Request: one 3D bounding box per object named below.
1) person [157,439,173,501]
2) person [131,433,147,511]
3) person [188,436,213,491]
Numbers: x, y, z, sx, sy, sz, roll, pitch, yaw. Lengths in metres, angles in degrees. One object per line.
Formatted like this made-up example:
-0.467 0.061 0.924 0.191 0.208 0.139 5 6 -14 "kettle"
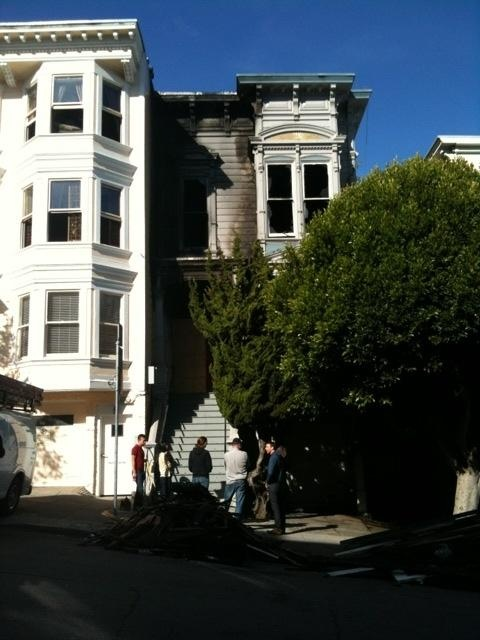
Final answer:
-1.532 3.063 15.113 0.299 1.042 1.177 3 -9 -5 "person"
-1.963 2.892 14.180 0.255 1.332 0.708 4 -9 -7 "person"
-0.744 2.778 13.400 0.377 1.360 0.345 1 11 -1 "person"
